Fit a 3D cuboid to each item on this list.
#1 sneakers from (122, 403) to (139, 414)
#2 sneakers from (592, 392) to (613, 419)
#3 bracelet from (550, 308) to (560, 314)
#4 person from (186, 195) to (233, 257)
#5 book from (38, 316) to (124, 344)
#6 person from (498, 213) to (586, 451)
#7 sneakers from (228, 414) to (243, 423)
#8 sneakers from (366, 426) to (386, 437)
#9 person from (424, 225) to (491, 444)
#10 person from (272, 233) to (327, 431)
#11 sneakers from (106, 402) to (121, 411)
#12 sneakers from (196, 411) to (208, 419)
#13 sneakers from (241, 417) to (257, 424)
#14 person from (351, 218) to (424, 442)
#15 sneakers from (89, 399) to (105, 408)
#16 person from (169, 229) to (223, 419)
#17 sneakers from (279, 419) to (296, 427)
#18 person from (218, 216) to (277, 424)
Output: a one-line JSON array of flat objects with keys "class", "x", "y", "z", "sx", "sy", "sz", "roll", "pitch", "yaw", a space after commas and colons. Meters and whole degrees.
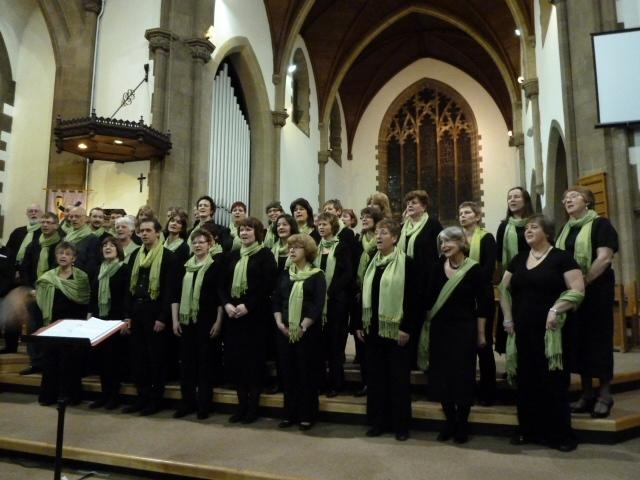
[{"class": "sneakers", "x": -2.108, "y": 1.883, "z": 6.491, "sx": 0.228, "sy": 0.109, "sz": 0.082, "roll": 5, "pitch": -12, "yaw": 0}, {"class": "sneakers", "x": 2.746, "y": 1.603, "z": 5.689, "sx": 0.165, "sy": 0.198, "sz": 0.336, "roll": -3, "pitch": -4, "yaw": 35}, {"class": "bracelet", "x": 2.112, "y": 0.643, "z": 5.286, "sx": 0.041, "sy": 0.034, "sz": 0.060, "roll": -16, "pitch": 16, "yaw": 30}, {"class": "person", "x": -1.440, "y": -0.065, "z": 7.351, "sx": 0.539, "sy": 0.964, "sz": 0.308, "roll": -1, "pitch": -2, "yaw": 27}, {"class": "book", "x": -2.157, "y": 0.814, "z": 5.209, "sx": 0.728, "sy": 0.198, "sz": 0.432, "roll": -2, "pitch": -3, "yaw": 14}, {"class": "person", "x": 2.073, "y": 0.847, "z": 5.452, "sx": 0.715, "sy": 2.134, "sz": 0.337, "roll": -2, "pitch": -5, "yaw": 18}, {"class": "sneakers", "x": -0.893, "y": 1.883, "z": 6.146, "sx": 0.131, "sy": 0.075, "sz": 0.054, "roll": 0, "pitch": -4, "yaw": -11}, {"class": "sneakers", "x": 0.545, "y": 1.904, "z": 5.785, "sx": 0.195, "sy": 0.079, "sz": 0.085, "roll": 0, "pitch": -21, "yaw": -8}, {"class": "person", "x": 1.339, "y": 0.910, "z": 5.707, "sx": 0.654, "sy": 2.056, "sz": 0.403, "roll": -1, "pitch": -4, "yaw": 10}, {"class": "person", "x": -0.220, "y": 0.934, "z": 6.098, "sx": 0.559, "sy": 1.989, "sz": 0.317, "roll": 0, "pitch": -4, "yaw": -2}, {"class": "sneakers", "x": -2.358, "y": 1.882, "z": 6.616, "sx": 0.149, "sy": 0.073, "sz": 0.064, "roll": 1, "pitch": -4, "yaw": -25}, {"class": "sneakers", "x": -1.265, "y": 1.886, "z": 6.293, "sx": 0.120, "sy": 0.079, "sz": 0.098, "roll": 0, "pitch": -4, "yaw": -14}, {"class": "sneakers", "x": -0.752, "y": 1.897, "z": 6.115, "sx": 0.051, "sy": 0.071, "sz": 0.157, "roll": -8, "pitch": -21, "yaw": 35}, {"class": "person", "x": 0.699, "y": 0.868, "z": 5.820, "sx": 0.564, "sy": 2.143, "sz": 0.347, "roll": -1, "pitch": -4, "yaw": 9}, {"class": "sneakers", "x": -2.557, "y": 1.876, "z": 6.671, "sx": 0.160, "sy": 0.095, "sz": 0.088, "roll": 1, "pitch": -4, "yaw": -23}, {"class": "person", "x": -1.373, "y": 0.902, "z": 6.470, "sx": 0.573, "sy": 2.061, "sz": 0.364, "roll": 0, "pitch": -4, "yaw": -9}, {"class": "sneakers", "x": -0.347, "y": 1.892, "z": 6.011, "sx": 0.064, "sy": 0.085, "sz": 0.177, "roll": -10, "pitch": -27, "yaw": 41}, {"class": "person", "x": -0.779, "y": 0.851, "z": 6.347, "sx": 0.612, "sy": 2.156, "sz": 0.339, "roll": 0, "pitch": -4, "yaw": -5}]
